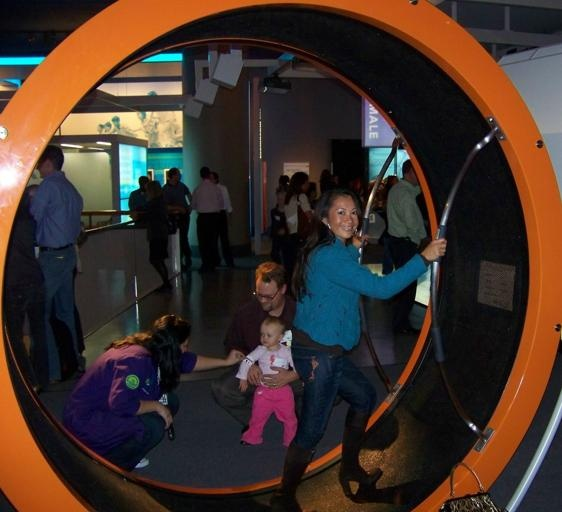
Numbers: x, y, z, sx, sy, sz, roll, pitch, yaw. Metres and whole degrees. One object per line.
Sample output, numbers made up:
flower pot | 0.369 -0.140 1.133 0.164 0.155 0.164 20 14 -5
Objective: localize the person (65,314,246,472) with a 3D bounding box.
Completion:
person | -0.686 0.713 2.452 0.429 0.832 0.754 5 11 42

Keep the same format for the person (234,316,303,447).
person | -0.058 0.714 2.646 0.337 0.787 0.220 -2 15 -8

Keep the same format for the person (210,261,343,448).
person | -0.102 0.519 2.800 0.517 0.880 0.468 2 15 -11

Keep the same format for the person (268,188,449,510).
person | 0.233 0.213 2.808 1.050 2.082 1.033 -4 12 -5
